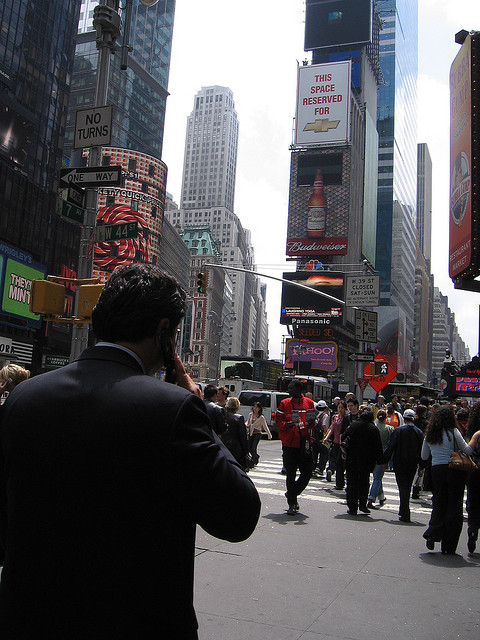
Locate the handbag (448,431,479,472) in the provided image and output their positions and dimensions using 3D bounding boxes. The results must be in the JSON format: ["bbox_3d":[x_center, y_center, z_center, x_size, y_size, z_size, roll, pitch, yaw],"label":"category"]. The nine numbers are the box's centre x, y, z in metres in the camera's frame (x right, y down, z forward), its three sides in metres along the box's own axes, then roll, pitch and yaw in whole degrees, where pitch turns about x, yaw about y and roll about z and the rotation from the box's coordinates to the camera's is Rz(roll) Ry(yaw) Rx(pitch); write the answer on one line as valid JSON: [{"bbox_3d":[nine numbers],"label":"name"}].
[{"bbox_3d":[3.077,1.841,8.042,0.138,0.493,0.432,-25,-30,35],"label":"handbag"}]

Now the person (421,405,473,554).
[{"bbox_3d":[2.874,2.198,8.118,0.628,1.991,0.859,1,-9,15],"label":"person"}]

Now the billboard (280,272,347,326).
[{"bbox_3d":[9.745,-3.233,79.030,8.691,7.806,1.006,1,14,4],"label":"billboard"}]

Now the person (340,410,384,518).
[{"bbox_3d":[2.261,2.608,10.729,0.692,1.891,0.854,2,-9,9],"label":"person"}]

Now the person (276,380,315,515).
[{"bbox_3d":[0.973,2.220,10.338,0.607,2.302,0.775,-1,-10,26],"label":"person"}]

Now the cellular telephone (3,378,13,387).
[{"bbox_3d":[-2.244,0.606,5.680,0.062,0.075,0.034,-1,-10,27],"label":"cellular telephone"}]

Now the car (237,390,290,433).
[{"bbox_3d":[0.861,5.457,34.937,2.384,2.595,4.498,7,-5,4],"label":"car"}]

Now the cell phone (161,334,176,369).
[{"bbox_3d":[-0.211,0.096,1.761,0.017,0.076,0.056,-7,-4,22],"label":"cell phone"}]

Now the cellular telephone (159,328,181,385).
[{"bbox_3d":[-0.222,0.116,1.787,0.039,0.185,0.043,0,6,1],"label":"cellular telephone"}]

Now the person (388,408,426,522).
[{"bbox_3d":[3.013,2.622,10.556,0.627,1.932,1.432,0,-9,18],"label":"person"}]
